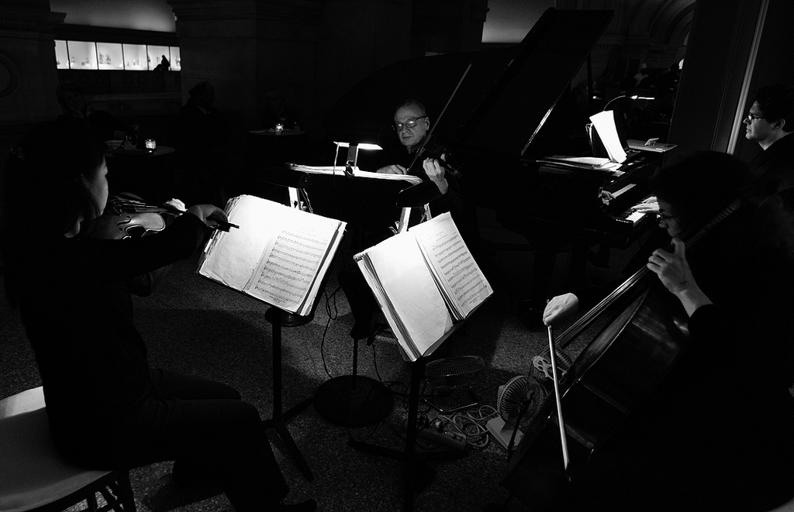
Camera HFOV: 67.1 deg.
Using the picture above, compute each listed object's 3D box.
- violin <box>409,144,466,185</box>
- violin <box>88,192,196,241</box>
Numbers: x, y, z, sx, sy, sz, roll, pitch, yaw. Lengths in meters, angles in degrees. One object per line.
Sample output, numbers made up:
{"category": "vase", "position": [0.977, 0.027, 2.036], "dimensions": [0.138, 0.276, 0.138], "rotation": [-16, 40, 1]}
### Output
{"category": "violin", "position": [0.232, -0.566, 3.965], "dimensions": [0.424, 0.320, 0.359], "rotation": [11, 22, 29]}
{"category": "violin", "position": [-1.266, -0.189, 2.828], "dimensions": [0.227, 0.080, 0.413], "rotation": [30, 24, 17]}
